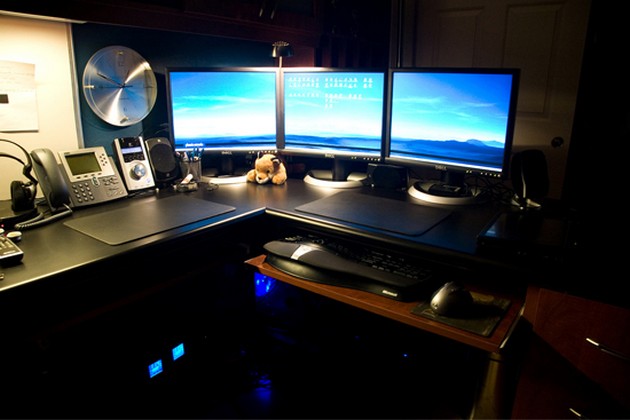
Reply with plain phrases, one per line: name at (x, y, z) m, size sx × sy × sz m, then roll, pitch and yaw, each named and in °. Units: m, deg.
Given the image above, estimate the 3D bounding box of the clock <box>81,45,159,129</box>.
clock at (-1.033, -0.646, 2.298) m, size 0.464 × 0.447 × 0.053 m, roll -6°, pitch 17°, yaw -40°

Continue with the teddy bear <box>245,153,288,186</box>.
teddy bear at (-0.255, -0.208, 2.501) m, size 0.204 × 0.128 × 0.177 m, roll 2°, pitch 18°, yaw 6°

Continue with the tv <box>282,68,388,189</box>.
tv at (0.113, -0.453, 2.371) m, size 0.622 × 0.627 × 0.238 m, roll 5°, pitch 18°, yaw 13°

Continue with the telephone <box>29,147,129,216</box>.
telephone at (-1.113, -0.144, 2.093) m, size 0.300 × 0.259 × 0.415 m, roll 39°, pitch 37°, yaw 25°

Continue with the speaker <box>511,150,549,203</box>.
speaker at (0.984, -0.146, 2.034) m, size 0.159 × 0.236 × 0.117 m, roll 1°, pitch 21°, yaw 3°

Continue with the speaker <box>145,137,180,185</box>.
speaker at (-0.809, -0.262, 2.356) m, size 0.146 × 0.247 × 0.064 m, roll -22°, pitch 11°, yaw -37°
